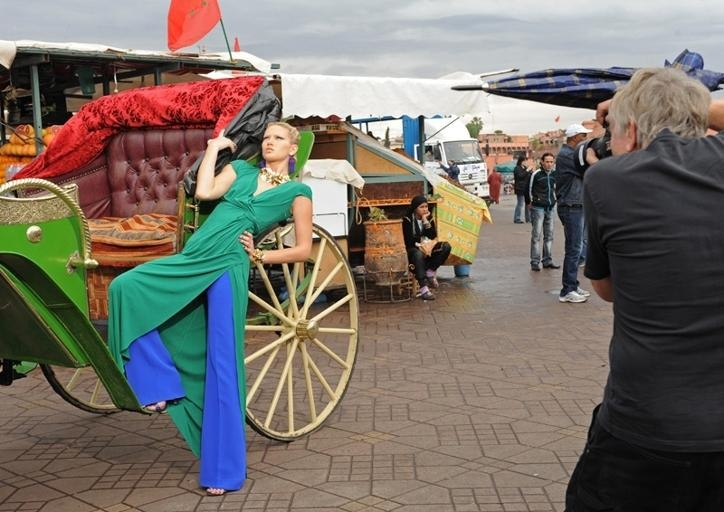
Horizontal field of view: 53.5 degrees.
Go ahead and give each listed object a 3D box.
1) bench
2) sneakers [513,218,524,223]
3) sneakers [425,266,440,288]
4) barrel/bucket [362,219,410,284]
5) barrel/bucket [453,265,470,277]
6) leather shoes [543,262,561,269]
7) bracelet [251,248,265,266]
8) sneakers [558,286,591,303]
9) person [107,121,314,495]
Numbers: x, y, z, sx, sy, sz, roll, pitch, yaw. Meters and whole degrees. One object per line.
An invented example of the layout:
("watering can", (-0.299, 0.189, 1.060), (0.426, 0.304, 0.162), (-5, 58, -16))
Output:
("bench", (-1.776, -0.291, 5.559), (1.768, 1.606, 1.480), (1, 3, 4))
("sneakers", (4.955, -1.091, 22.479), (0.437, 0.138, 0.138), (-5, 5, -9))
("sneakers", (0.991, 0.334, 10.422), (0.175, 0.337, 0.138), (-12, 18, 27))
("barrel/bucket", (0.222, -0.045, 9.650), (0.716, 0.792, 0.662), (-2, -1, 0))
("barrel/bucket", (1.638, 0.248, 11.912), (0.240, 0.136, 0.223), (-1, 0, 0))
("leather shoes", (3.337, 0.171, 12.608), (0.303, 0.091, 0.106), (-1, 8, 10))
("bracelet", (-0.674, 0.010, 4.572), (0.045, 0.068, 0.095), (-14, 46, -38))
("sneakers", (2.821, 0.529, 9.550), (0.447, 0.158, 0.156), (-3, 10, 12))
("person", (-0.878, 0.301, 4.467), (0.597, 2.163, 1.313), (4, 12, 30))
